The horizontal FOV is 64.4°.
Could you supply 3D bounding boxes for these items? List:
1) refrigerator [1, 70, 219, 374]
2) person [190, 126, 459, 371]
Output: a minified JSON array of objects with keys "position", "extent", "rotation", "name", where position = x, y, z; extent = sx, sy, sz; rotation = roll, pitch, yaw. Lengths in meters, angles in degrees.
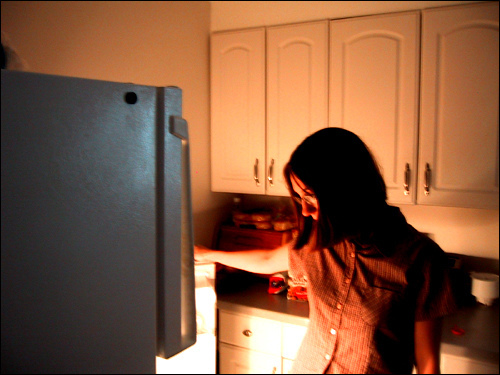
[{"position":[-0.357,0.109,1.553],"extent":[0.662,1.279,0.676],"rotation":[-1,0,22],"name":"refrigerator"},{"position":[0.277,0.243,1.424],"extent":[0.387,0.885,0.772],"rotation":[-4,4,-44],"name":"person"}]
